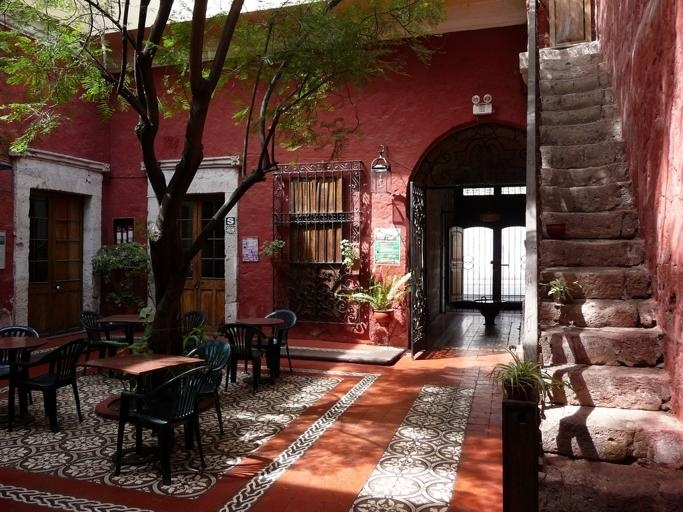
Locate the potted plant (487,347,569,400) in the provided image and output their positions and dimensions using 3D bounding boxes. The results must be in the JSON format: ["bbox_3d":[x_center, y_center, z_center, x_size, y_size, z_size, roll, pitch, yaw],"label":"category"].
[{"bbox_3d":[1.185,0.816,3.233,0.524,0.226,0.529,5,5,-4],"label":"potted plant"}]

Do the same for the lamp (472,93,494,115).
[{"bbox_3d":[2.367,-2.514,8.066,0.384,0.357,0.247,-2,-6,30],"label":"lamp"}]

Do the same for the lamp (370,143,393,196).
[{"bbox_3d":[0.685,-1.532,8.559,0.382,0.859,0.353,1,3,13],"label":"lamp"}]
